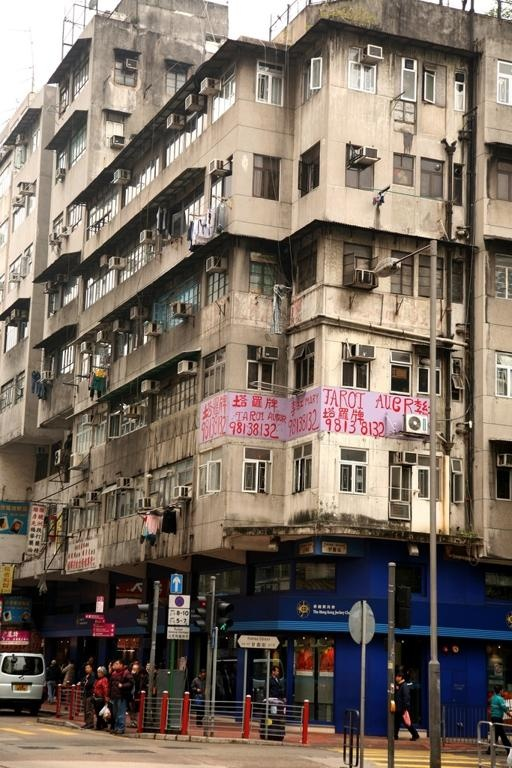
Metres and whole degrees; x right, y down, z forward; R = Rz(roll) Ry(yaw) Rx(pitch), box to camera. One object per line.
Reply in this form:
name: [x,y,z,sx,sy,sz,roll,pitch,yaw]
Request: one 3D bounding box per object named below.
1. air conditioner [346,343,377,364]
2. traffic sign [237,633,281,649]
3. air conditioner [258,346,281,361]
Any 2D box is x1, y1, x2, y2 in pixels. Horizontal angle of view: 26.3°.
air conditioner: [2.559,-0.569,27.181,0.708,0.516,0.386,13,-24,-37]
traffic sign: [0.056,5.137,21.921,0.740,0.290,1.228,-1,-16,3]
air conditioner: [0.319,-0.797,28.342,0.358,0.361,0.496,-6,-10,43]
